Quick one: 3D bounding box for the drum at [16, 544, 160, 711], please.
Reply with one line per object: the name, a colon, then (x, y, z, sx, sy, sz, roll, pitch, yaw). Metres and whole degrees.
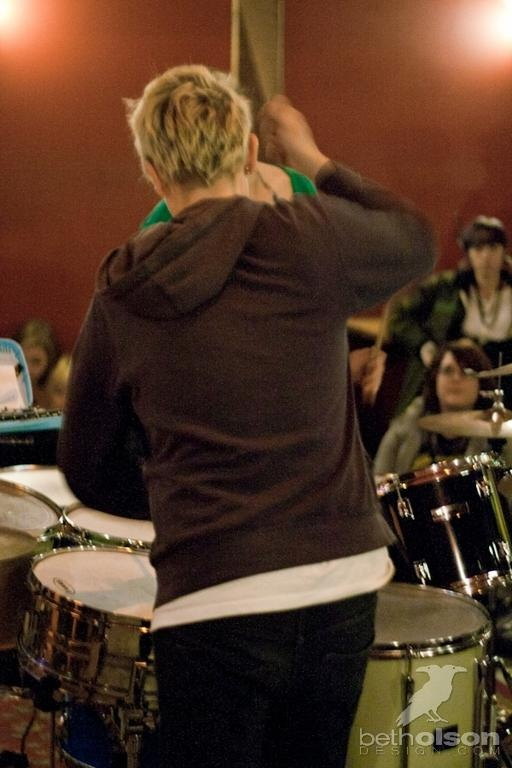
drum: (-0.324, 0.500, 1.532, 0.327, 0.178, 0.326, 17, 8, -3)
